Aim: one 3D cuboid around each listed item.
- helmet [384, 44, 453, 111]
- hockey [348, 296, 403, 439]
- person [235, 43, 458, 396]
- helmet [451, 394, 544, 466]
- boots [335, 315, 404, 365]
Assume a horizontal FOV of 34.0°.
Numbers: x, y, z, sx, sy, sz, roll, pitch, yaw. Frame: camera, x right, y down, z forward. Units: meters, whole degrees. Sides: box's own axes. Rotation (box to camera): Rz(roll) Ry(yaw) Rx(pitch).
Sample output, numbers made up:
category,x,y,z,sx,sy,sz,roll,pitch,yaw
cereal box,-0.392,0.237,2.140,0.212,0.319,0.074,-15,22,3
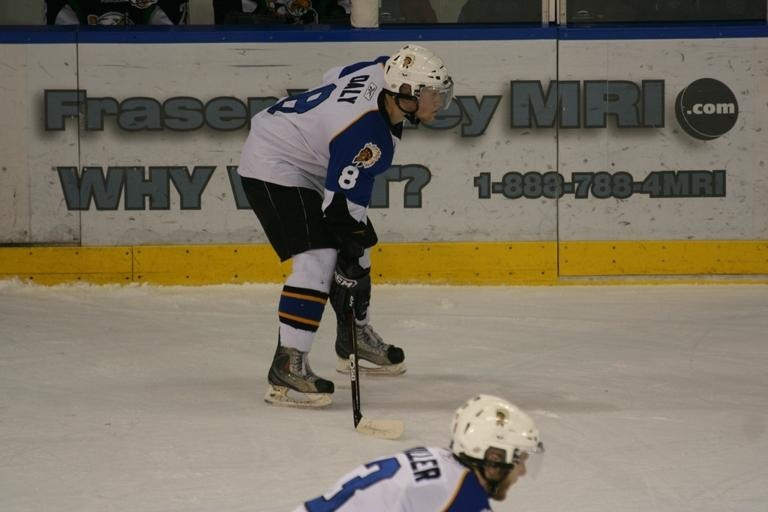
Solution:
category,x,y,z,sx,sy,sz,roll,pitch,yaw
helmet,0.189,-1.106,7.660,0.433,0.386,0.314,8,42,-8
hockey,-0.047,0.597,7.226,0.294,0.904,0.276,-2,20,2
person,-0.297,-0.189,7.671,1.211,2.201,0.446,3,4,-2
helmet,0.573,0.863,6.283,0.407,0.269,0.299,8,-3,-3
boots,-0.076,0.541,8.108,0.518,0.326,0.166,3,8,31
